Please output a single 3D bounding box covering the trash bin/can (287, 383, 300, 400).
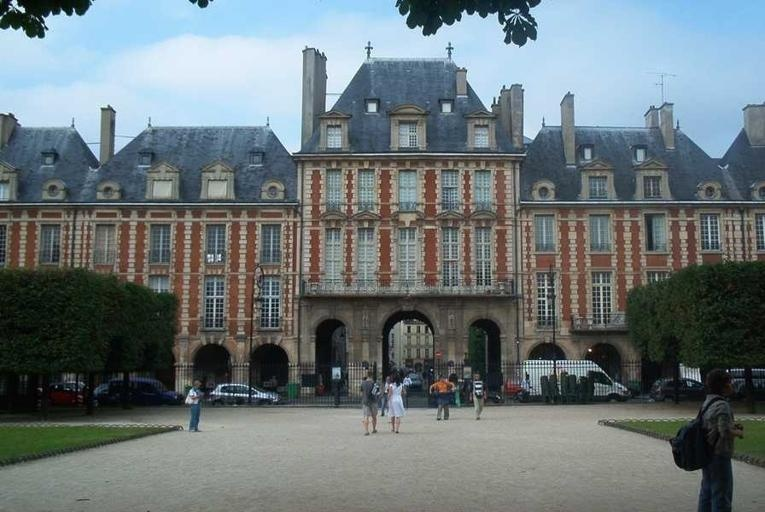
[{"bbox_3d":[-5.684,8.595,56.671,0.810,1.175,0.822,-1,0,11],"label":"trash bin/can"}]

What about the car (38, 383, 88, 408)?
[{"bbox_3d":[-20.245,8.769,56.831,2.011,1.421,6.784,2,-8,-21],"label":"car"}]

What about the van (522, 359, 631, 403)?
[{"bbox_3d":[11.191,7.409,53.059,5.931,2.408,1.564,-2,-7,6],"label":"van"}]

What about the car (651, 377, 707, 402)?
[{"bbox_3d":[17.991,8.212,54.413,2.741,1.236,1.546,-4,-4,0],"label":"car"}]
